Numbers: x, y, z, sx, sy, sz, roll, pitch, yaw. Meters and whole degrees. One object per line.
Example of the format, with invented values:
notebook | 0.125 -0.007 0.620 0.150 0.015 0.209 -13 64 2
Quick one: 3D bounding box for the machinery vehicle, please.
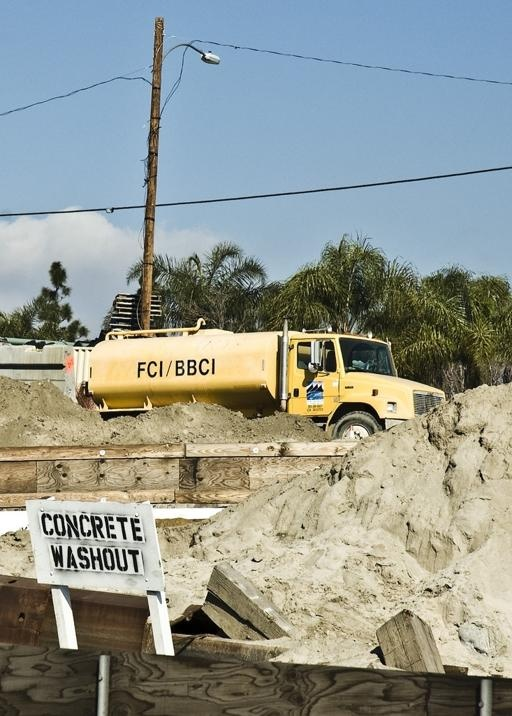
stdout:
machinery vehicle | -0.322 0.541 17.309 5.247 2.197 1.620 -2 0 16
